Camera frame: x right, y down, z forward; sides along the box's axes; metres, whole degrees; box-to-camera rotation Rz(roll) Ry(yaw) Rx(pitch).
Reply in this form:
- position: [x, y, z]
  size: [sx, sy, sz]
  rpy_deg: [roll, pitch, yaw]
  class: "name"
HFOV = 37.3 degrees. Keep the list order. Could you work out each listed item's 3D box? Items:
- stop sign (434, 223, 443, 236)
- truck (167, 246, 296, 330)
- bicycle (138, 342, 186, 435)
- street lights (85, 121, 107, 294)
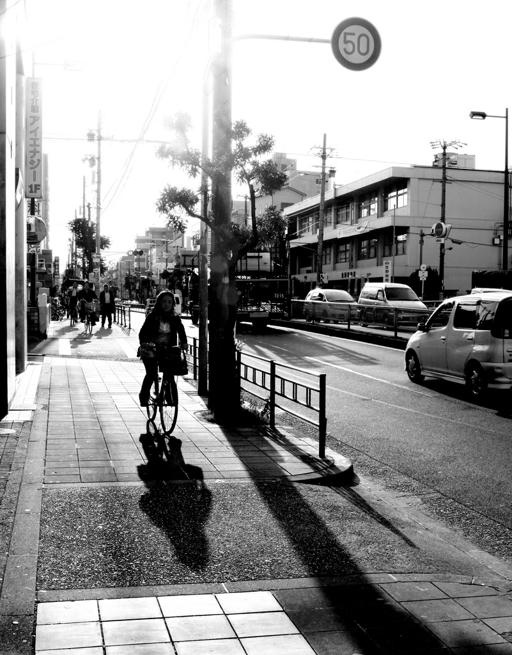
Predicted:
- position: [8.888, -4.820, 37.161]
  size: [0.467, 0.575, 0.759]
  rpy_deg: [3, 1, 16]
  class: "stop sign"
- position: [-0.690, -1.793, 32.764]
  size: [3.289, 4.021, 6.692]
  rpy_deg: [-1, 2, -31]
  class: "truck"
- position: [-1.056, 0.683, 8.610]
  size: [0.476, 0.989, 1.066]
  rpy_deg: [2, 2, -8]
  class: "bicycle"
- position: [-8.226, -6.220, 37.763]
  size: [0.755, 8.170, 0.712]
  rpy_deg: [1, 0, -25]
  class: "street lights"
